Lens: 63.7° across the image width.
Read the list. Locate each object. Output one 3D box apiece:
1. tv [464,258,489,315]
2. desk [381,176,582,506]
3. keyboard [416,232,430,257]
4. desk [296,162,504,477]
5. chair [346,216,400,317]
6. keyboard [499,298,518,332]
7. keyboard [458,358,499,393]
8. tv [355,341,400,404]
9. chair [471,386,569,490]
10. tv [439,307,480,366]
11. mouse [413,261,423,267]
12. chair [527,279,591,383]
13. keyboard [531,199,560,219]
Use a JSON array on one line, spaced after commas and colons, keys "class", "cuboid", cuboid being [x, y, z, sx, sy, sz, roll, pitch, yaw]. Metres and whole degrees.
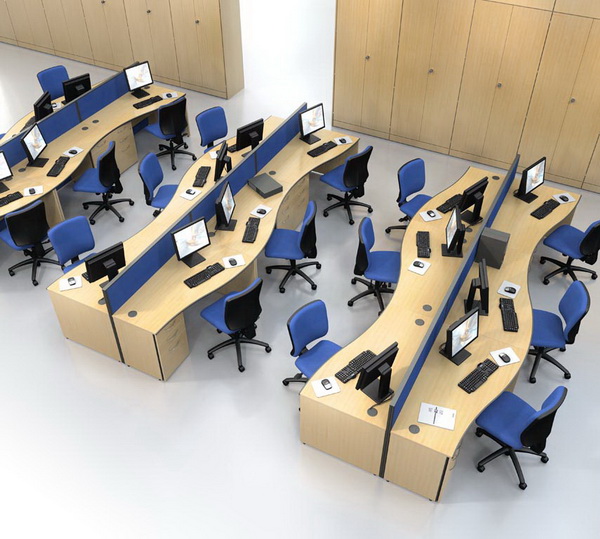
[{"class": "tv", "cuboid": [1.677, 0.186, 4.613, 0.178, 0.347, 0.365, 8, 41, 14]}, {"class": "desk", "cuboid": [1.709, 0.703, 4.484, 0.995, 0.867, 2.953, 14, 50, 18]}, {"class": "keyboard", "cuboid": [1.331, -0.267, 5.241, 0.180, 0.046, 0.468, 1, 40, 9]}, {"class": "desk", "cuboid": [1.171, 0.410, 5.101, 0.722, 0.716, 3.578, 17, 41, 22]}, {"class": "chair", "cuboid": [0.833, 0.013, 5.581, 0.566, 0.875, 0.705, 7, 50, 11]}, {"class": "keyboard", "cuboid": [1.949, 0.425, 4.511, 0.131, 0.044, 0.421, 6, 42, 9]}, {"class": "keyboard", "cuboid": [1.476, 0.885, 3.991, 0.161, 0.060, 0.420, 27, 50, 28]}, {"class": "tv", "cuboid": [0.608, 0.839, 3.816, 0.167, 0.302, 0.292, 30, 51, 31]}, {"class": "chair", "cuboid": [1.776, 1.283, 3.955, 0.597, 0.902, 0.565, 28, 44, 33]}, {"class": "tv", "cuboid": [1.369, 0.600, 4.163, 0.174, 0.305, 0.310, 30, 52, 36]}, {"class": "mouse", "cuboid": [1.230, -0.039, 5.031, 0.085, 0.022, 0.064, 25, 55, 26]}, {"class": "chair", "cuboid": [2.592, 0.670, 4.842, 0.447, 0.727, 0.566, 10, 57, 14]}, {"class": "keyboard", "cuboid": [2.911, -0.711, 5.748, 0.198, 0.081, 0.441, 32, 59, 29]}]
